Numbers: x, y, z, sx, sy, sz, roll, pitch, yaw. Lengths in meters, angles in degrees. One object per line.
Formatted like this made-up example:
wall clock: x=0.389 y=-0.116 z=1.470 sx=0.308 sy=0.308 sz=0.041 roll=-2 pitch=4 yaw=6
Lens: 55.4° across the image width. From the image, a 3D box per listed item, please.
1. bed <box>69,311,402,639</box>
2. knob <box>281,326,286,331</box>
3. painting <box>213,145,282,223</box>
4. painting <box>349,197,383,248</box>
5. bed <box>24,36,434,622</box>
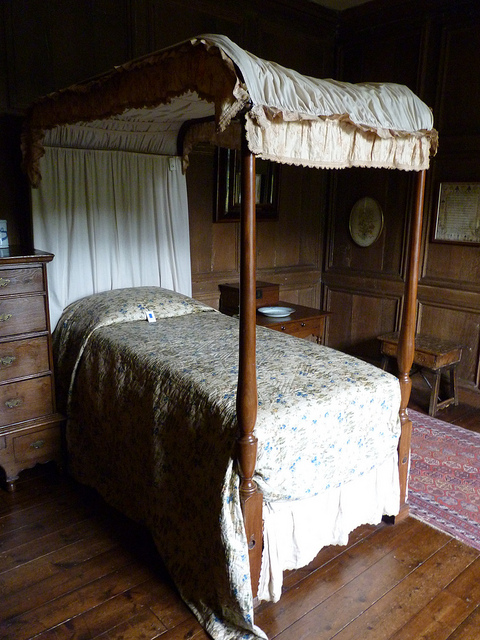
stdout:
bed: x=-0.167 y=0.534 z=2.340 sx=0.995 sy=0.857 sz=1.426 roll=-8 pitch=19 yaw=-37
knob: x=0.355 y=0.058 z=3.751 sx=0.007 sy=0.034 sz=0.028 roll=-5 pitch=4 yaw=43
painting: x=0.117 y=-1.312 z=4.475 sx=0.324 sy=0.674 sz=0.867 roll=9 pitch=15 yaw=37
painting: x=1.358 y=-1.066 z=4.865 sx=0.064 sy=0.671 sz=0.480 roll=-3 pitch=1 yaw=-24
bed: x=-0.301 y=-0.137 z=2.725 sx=1.718 sy=2.265 sz=1.344 roll=14 pitch=21 yaw=29
